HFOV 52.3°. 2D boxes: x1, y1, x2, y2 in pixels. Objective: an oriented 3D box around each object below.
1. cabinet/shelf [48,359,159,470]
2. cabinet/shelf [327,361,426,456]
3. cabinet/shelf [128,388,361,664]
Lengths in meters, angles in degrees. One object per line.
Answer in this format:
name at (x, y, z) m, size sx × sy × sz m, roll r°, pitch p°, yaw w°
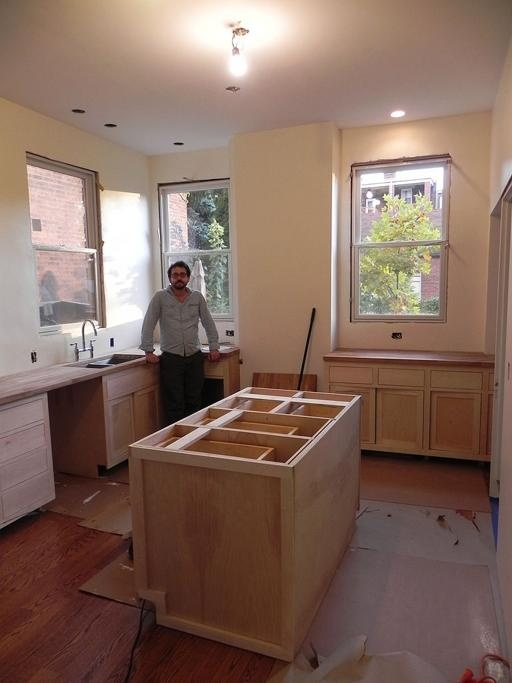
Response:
cabinet/shelf at (-1.117, 0.577, 4.069) m, size 0.413 × 0.768 × 0.790 m, roll 2°, pitch 6°, yaw 20°
cabinet/shelf at (0.890, 0.464, 3.684) m, size 0.683 × 0.645 × 0.231 m, roll 1°, pitch 2°, yaw 22°
cabinet/shelf at (-0.007, 0.719, 2.301) m, size 0.665 × 0.737 × 0.962 m, roll 1°, pitch 5°, yaw 22°
